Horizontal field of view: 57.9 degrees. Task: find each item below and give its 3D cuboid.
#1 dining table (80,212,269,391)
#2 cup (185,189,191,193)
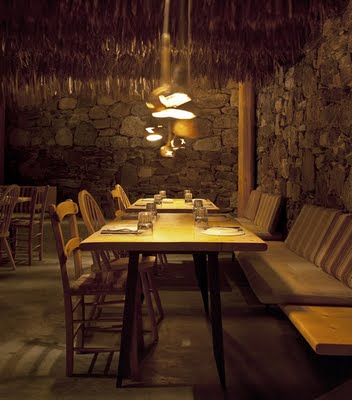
[{"bbox_3d":[-0.010,0.518,1.996,0.917,0.804,1.120,6,6,6],"label":"dining table"},{"bbox_3d":[0.174,-0.132,4.505,0.075,0.072,0.073,0,4,0],"label":"cup"}]
